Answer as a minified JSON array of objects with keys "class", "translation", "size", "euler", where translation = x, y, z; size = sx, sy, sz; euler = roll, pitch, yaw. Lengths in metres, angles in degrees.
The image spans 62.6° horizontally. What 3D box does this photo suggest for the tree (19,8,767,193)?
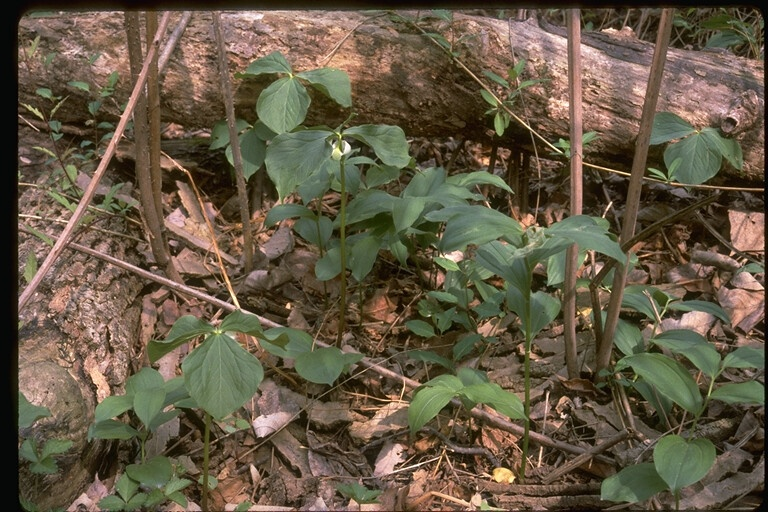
[{"class":"tree","translation":[0.103,-1.038,3.813],"size":[4.263,0.867,0.613],"euler":[6,17,2]}]
